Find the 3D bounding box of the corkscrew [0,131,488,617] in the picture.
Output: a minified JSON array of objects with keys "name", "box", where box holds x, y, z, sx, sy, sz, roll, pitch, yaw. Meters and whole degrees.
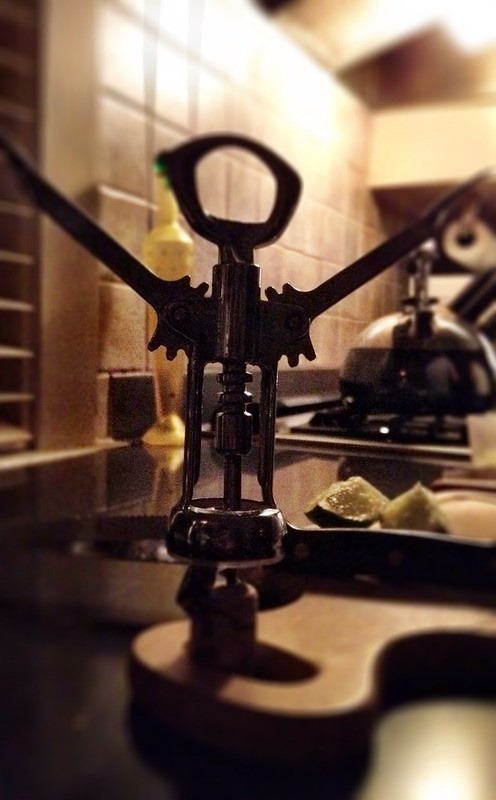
[{"name":"corkscrew","box":[0.013,-0.011,0.338,0.241,0.183,0.110,3,1,-26]}]
